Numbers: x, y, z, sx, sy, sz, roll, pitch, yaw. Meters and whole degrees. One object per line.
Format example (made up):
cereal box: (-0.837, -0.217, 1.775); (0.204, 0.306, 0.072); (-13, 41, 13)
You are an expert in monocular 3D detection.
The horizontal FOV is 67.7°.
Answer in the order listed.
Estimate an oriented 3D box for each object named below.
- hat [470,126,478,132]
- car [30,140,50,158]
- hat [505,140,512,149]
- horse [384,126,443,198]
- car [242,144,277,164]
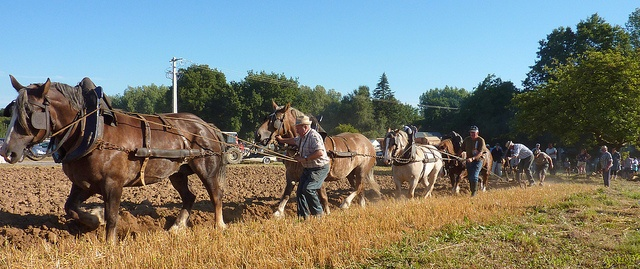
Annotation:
hat: (10.256, -0.372, 32.093); (0.464, 0.319, 0.660); (5, 2, 21)
car: (-19.967, 1.047, 34.059); (1.468, 0.634, 1.919); (-9, 15, -29)
hat: (15.263, 0.837, 38.998); (0.567, 0.309, 0.674); (4, -30, 9)
horse: (5.890, 1.924, 31.473); (4.433, 4.411, 1.158); (3, -4, -36)
car: (-6.762, 1.884, 44.997); (4.410, 1.802, 2.331); (3, -4, -5)
